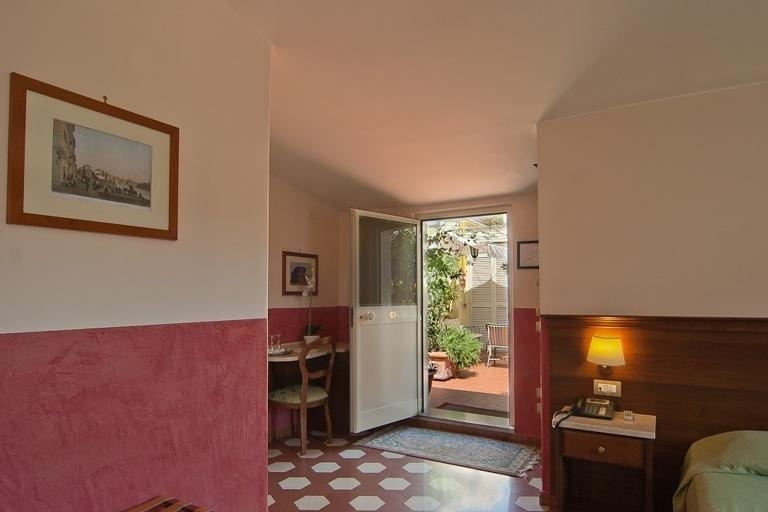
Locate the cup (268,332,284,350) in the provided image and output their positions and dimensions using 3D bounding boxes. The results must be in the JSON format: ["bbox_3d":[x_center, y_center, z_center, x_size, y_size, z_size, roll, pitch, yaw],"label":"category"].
[{"bbox_3d":[-1.085,0.856,5.108,0.187,0.179,0.163,3,-9,-42],"label":"cup"}]

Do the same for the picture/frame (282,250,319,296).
[{"bbox_3d":[-0.926,0.184,5.463,0.020,0.416,0.509,-5,-5,33],"label":"picture/frame"}]

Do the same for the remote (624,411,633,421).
[{"bbox_3d":[1.689,1.099,3.481,0.064,0.060,0.045,-2,-11,19],"label":"remote"}]

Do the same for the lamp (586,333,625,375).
[{"bbox_3d":[1.585,0.717,3.587,0.234,0.288,0.229,0,5,29],"label":"lamp"}]

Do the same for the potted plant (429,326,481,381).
[{"bbox_3d":[1.267,1.563,8.348,0.756,0.760,0.813,0,-3,31],"label":"potted plant"}]

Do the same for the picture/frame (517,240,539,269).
[{"bbox_3d":[1.460,-0.008,5.073,0.289,0.316,0.021,-1,-7,28],"label":"picture/frame"}]

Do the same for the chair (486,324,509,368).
[{"bbox_3d":[2.116,1.628,9.466,0.397,0.789,0.927,-1,4,11],"label":"chair"}]

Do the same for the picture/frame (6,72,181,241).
[{"bbox_3d":[-1.544,-0.508,2.616,0.066,0.779,0.942,-5,-7,43],"label":"picture/frame"}]

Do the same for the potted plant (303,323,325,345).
[{"bbox_3d":[-0.763,0.853,5.503,0.208,0.201,0.209,-1,-4,24],"label":"potted plant"}]

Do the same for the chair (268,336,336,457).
[{"bbox_3d":[-0.794,1.328,5.088,0.693,1.120,0.806,-1,4,16],"label":"chair"}]
